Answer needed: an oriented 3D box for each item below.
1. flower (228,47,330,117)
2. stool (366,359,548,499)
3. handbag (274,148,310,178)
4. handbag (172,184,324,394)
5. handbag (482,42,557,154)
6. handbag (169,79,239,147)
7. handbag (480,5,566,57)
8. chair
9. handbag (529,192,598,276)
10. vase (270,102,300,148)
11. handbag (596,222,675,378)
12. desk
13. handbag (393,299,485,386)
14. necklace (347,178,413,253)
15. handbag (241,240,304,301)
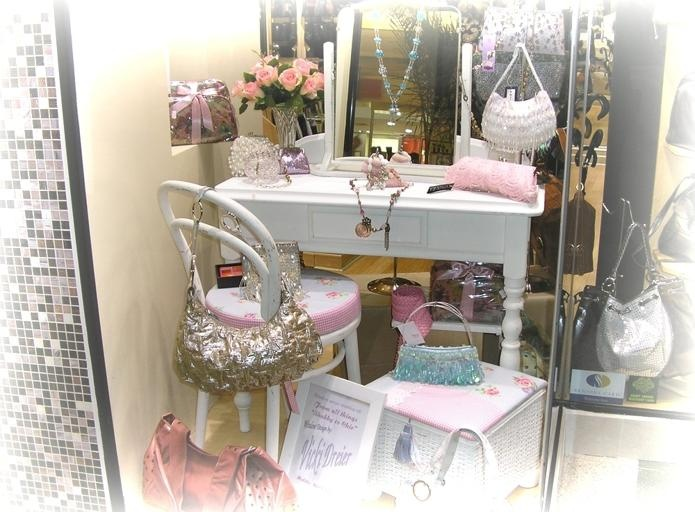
[{"bbox_3d":[-0.311,-0.739,2.299,0.282,0.202,0.264,-14,8,10],"label":"flower"},{"bbox_3d":[0.431,0.710,1.996,0.607,0.372,0.631,-4,2,8],"label":"stool"},{"bbox_3d":[-0.255,-0.415,2.298,0.158,0.123,0.065,-1,5,-14],"label":"handbag"},{"bbox_3d":[-0.315,0.075,1.518,0.441,0.629,0.300,-2,30,9],"label":"handbag"},{"bbox_3d":[0.723,-0.682,2.169,0.318,0.473,0.265,6,32,21],"label":"handbag"},{"bbox_3d":[-0.616,-0.632,2.381,0.390,0.265,0.327,-2,9,7],"label":"handbag"},{"bbox_3d":[0.739,-0.945,2.174,0.247,0.218,0.099,3,29,9],"label":"handbag"},{"bbox_3d":[-0.290,0.166,1.719,0.527,0.956,0.647,15,23,34],"label":"chair"},{"bbox_3d":[0.780,-0.088,1.862,0.210,0.300,0.161,9,7,-1],"label":"handbag"},{"bbox_3d":[-0.268,-0.602,2.356,0.092,0.271,0.093,1,49,-5],"label":"vase"},{"bbox_3d":[0.945,0.141,1.747,0.297,0.694,0.086,-6,30,21],"label":"handbag"},{"bbox_3d":[0.209,0.297,2.429,1.714,1.084,0.674,4,25,11],"label":"desk"},{"bbox_3d":[0.379,0.356,2.147,0.349,0.328,0.143,1,11,9],"label":"handbag"},{"bbox_3d":[0.109,-0.156,2.067,0.235,0.041,0.283,4,66,1],"label":"necklace"},{"bbox_3d":[-0.279,0.046,2.013,0.225,0.249,0.225,6,22,20],"label":"handbag"}]
